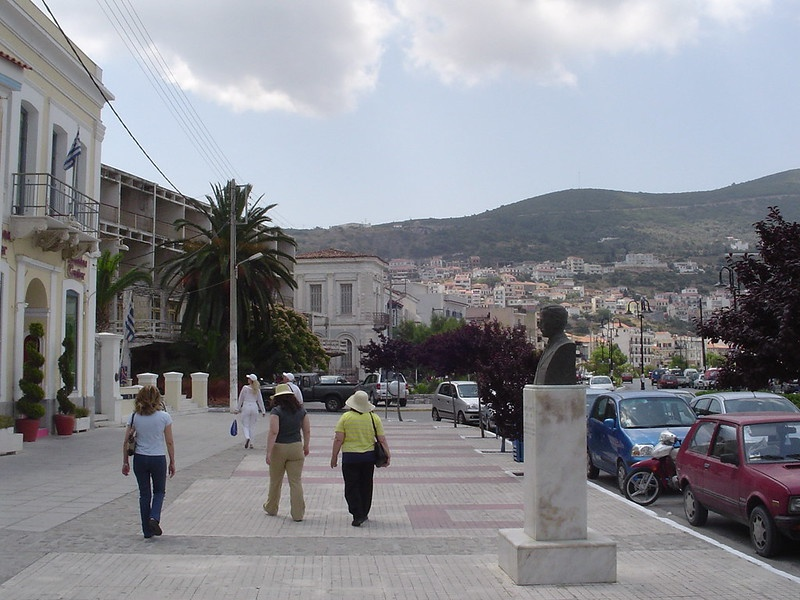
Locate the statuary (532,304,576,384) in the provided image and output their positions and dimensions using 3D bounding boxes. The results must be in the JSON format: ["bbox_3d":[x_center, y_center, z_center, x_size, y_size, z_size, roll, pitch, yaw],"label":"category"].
[{"bbox_3d":[2.005,0.566,9.428,0.443,1.020,0.601,0,1,0],"label":"statuary"}]

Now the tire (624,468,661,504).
[{"bbox_3d":[4.645,3.554,13.926,0.679,0.639,0.591,-4,-7,21],"label":"tire"}]

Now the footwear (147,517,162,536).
[{"bbox_3d":[-3.436,3.195,10.218,0.120,0.298,0.112,-16,22,-11],"label":"footwear"}]

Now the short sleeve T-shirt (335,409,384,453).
[{"bbox_3d":[-0.659,2.152,11.958,1.011,0.953,0.572,0,-7,-2],"label":"short sleeve T-shirt"}]

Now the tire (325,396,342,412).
[{"bbox_3d":[-3.857,6.041,42.517,0.834,0.904,0.308,1,-3,10],"label":"tire"}]

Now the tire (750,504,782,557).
[{"bbox_3d":[5.079,3.213,10.164,0.189,0.674,0.533,0,-6,-12],"label":"tire"}]

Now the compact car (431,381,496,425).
[{"bbox_3d":[3.035,4.673,33.257,1.873,1.970,3.936,2,-6,-22],"label":"compact car"}]

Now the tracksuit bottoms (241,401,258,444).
[{"bbox_3d":[-4.267,3.476,20.663,0.492,1.411,1.064,0,-6,-8],"label":"tracksuit bottoms"}]

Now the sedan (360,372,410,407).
[{"bbox_3d":[-0.833,5.470,45.280,1.918,1.709,3.425,0,4,-15],"label":"sedan"}]

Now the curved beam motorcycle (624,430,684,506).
[{"bbox_3d":[5.177,3.291,13.961,1.642,1.091,0.625,0,-7,2],"label":"curved beam motorcycle"}]

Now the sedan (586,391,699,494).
[{"bbox_3d":[5.558,3.117,16.467,2.024,2.078,4.037,-2,-6,-1],"label":"sedan"}]
